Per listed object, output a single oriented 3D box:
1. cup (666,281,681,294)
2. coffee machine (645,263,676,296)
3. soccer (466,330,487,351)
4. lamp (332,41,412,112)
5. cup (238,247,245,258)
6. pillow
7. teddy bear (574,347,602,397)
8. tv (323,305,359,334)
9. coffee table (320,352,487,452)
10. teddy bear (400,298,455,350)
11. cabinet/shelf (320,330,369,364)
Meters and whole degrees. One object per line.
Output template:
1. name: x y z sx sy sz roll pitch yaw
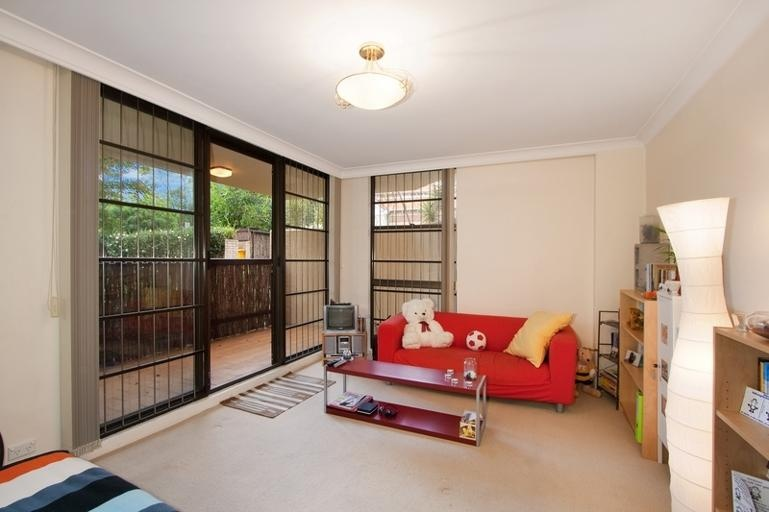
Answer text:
1. cup: 2.537 0.282 4.306 0.104 0.100 0.103 0 2 0
2. coffee machine: 2.635 0.222 4.782 0.303 0.425 0.232 3 1 22
3. soccer: 1.113 1.040 6.095 0.219 0.244 0.228 15 -5 2
4. lamp: -0.124 -1.640 4.255 0.679 0.412 0.562 -1 -9 5
5. cup: -2.624 -0.057 8.885 0.133 0.179 0.185 4 -7 -29
6. pillow: 1.797 0.964 5.784 0.569 0.556 0.603 -3 1 -28
7. teddy bear: 2.425 1.381 5.896 0.375 0.554 0.341 9 6 10
8. tv: -0.621 0.868 6.648 0.372 0.336 0.382 -1 -8 1
9. coffee table: 0.222 1.509 5.266 1.695 0.729 0.665 -2 1 21
10. teddy bear: 0.500 0.895 6.348 0.623 0.635 0.546 -4 0 -5
11. cabinet/shelf: -0.564 1.188 6.613 0.700 0.475 0.372 0 -4 -2
